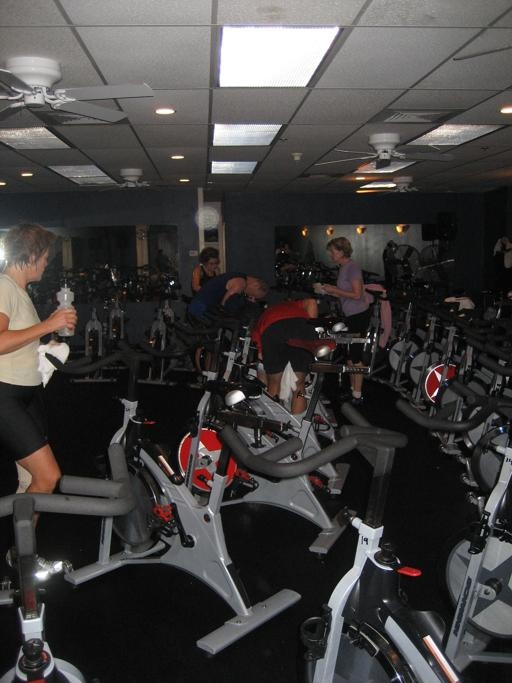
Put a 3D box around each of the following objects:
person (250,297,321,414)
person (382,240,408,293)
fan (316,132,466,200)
[{"bbox_3d":[0.188,0.109,3.471,0.475,0.761,0.843,1,8,5],"label":"person"},{"bbox_3d":[2.570,-1.434,9.304,0.425,0.865,0.380,2,9,17],"label":"person"},{"bbox_3d":[1.789,-2.178,6.450,1.158,0.373,1.137,2,1,2],"label":"fan"}]
